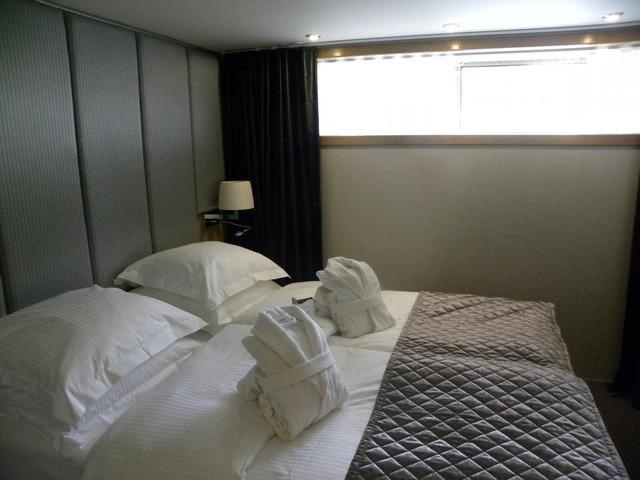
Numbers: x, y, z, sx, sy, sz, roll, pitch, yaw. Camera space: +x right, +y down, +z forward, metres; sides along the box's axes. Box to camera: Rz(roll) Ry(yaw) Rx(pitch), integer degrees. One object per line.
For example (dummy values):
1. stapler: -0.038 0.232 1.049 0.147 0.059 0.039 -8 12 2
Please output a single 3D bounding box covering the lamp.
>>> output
1. lamp: -0.766 -0.275 4.243 0.514 0.714 0.471 1 10 11
